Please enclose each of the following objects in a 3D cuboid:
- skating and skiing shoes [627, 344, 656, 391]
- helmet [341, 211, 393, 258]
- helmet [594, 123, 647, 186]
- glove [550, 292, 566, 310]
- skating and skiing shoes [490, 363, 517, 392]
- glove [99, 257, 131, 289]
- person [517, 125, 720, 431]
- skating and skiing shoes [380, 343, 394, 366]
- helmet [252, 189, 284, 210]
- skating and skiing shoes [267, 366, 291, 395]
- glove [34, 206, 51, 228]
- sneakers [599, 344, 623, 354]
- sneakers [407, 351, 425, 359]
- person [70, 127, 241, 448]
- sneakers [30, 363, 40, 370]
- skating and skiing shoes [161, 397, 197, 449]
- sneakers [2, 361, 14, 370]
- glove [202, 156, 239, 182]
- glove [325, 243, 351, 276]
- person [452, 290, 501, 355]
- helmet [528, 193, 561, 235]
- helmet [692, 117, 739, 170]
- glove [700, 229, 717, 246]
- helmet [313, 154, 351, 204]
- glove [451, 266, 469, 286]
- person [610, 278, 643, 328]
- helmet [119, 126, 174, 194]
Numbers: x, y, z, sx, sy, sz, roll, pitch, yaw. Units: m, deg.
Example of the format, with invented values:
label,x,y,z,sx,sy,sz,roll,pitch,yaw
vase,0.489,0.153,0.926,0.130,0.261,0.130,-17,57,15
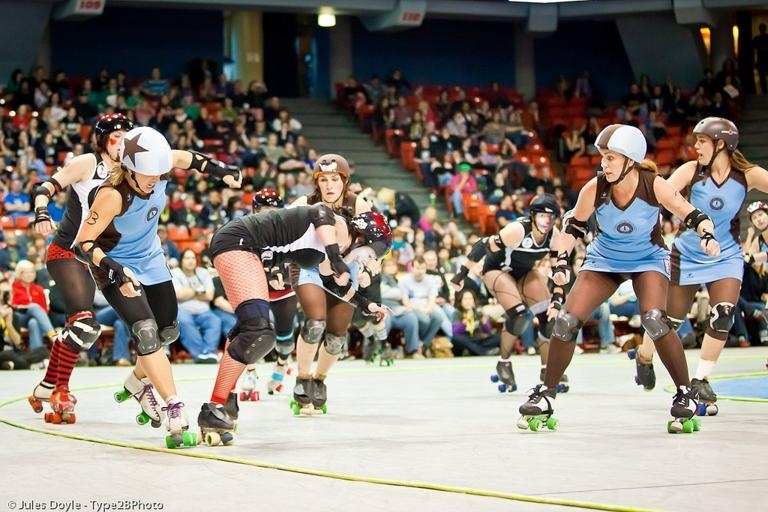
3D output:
label,x,y,z,sx,sy,sz,roll,pitch,yaw
skating and skiing shoes,2.649,1.126,7.879,0.217,0.460,0.216,-5,-20,-35
helmet,-0.157,-0.223,7.101,0.456,0.486,0.345,-1,-14,5
helmet,2.057,-0.867,6.608,0.374,0.472,0.365,1,16,14
glove,1.517,0.372,6.787,0.061,0.164,0.097,36,-17,40
skating and skiing shoes,1.393,1.413,9.113,0.207,0.259,0.412,1,-5,-7
glove,-2.060,0.124,5.929,0.164,0.279,0.101,-44,-5,-19
person,2.037,0.142,6.656,1.521,2.609,0.582,-1,-1,10
skating and skiing shoes,-0.004,1.524,11.967,0.139,0.293,0.422,0,-8,-3
helmet,-1.315,-0.630,8.611,0.218,0.278,0.286,-5,20,-31
skating and skiing shoes,-1.289,1.478,9.187,0.238,0.190,0.541,-3,-39,-19
glove,-3.078,-0.368,6.902,0.130,0.166,0.272,0,-1,-24
sneakers,4.020,1.638,13.718,0.384,0.187,0.156,-1,0,4
sneakers,0.529,1.643,13.073,0.245,0.134,0.311,0,-1,3
person,-1.946,0.219,6.289,1.009,2.428,0.926,0,-1,1
sneakers,-5.240,1.639,11.508,0.119,0.070,0.111,-2,-7,-26
skating and skiing shoes,-1.596,1.276,5.999,0.271,0.374,0.215,0,-1,-13
sneakers,-5.641,1.616,11.503,0.126,0.127,0.129,-6,-12,-8
glove,-1.405,-0.718,6.572,0.275,0.114,0.164,13,24,-14
glove,-0.395,0.037,6.278,0.156,0.259,0.108,-30,13,-28
person,1.509,1.175,13.460,0.865,1.136,0.663,-7,6,-25
helmet,1.810,-0.418,8.644,0.347,0.452,0.461,12,-6,1
helmet,3.194,-1.042,7.385,0.373,0.480,0.334,9,-4,24
glove,2.631,-0.135,6.292,0.129,0.175,0.187,-1,-1,17
helmet,-0.503,-0.773,7.533,0.360,0.517,0.448,1,-17,-1
glove,0.884,0.249,8.781,0.074,0.248,0.172,49,-19,-25
person,4.347,0.734,14.062,0.526,0.995,0.416,-7,27,13
helmet,-1.873,-0.782,6.029,0.462,0.428,0.384,20,20,39
